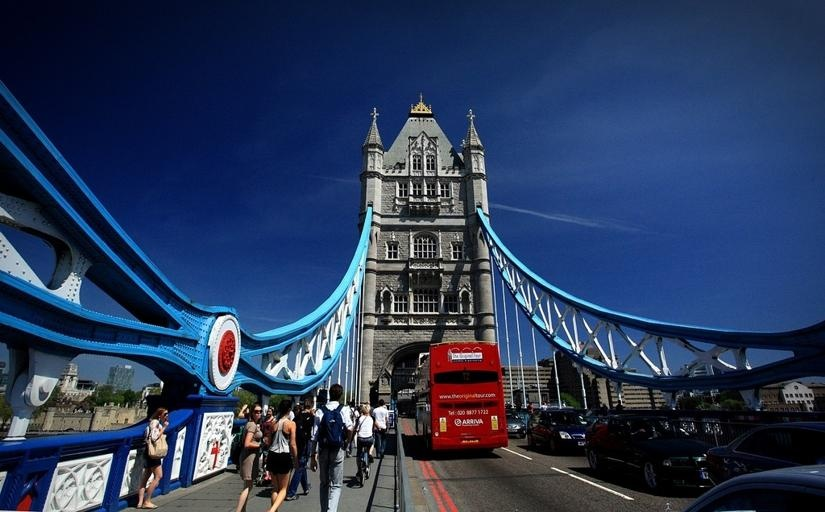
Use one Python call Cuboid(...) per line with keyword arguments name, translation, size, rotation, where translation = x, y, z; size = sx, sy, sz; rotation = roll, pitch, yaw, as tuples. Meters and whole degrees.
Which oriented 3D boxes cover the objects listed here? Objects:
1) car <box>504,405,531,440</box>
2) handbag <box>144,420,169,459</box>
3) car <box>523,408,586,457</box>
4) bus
Cuboid(name="car", translation=(5.469, 8.814, 27.530), size=(1.306, 1.058, 2.985), rotation=(-1, -25, 4))
Cuboid(name="handbag", translation=(-5.830, 4.184, 11.869), size=(0.426, 0.820, 0.771), rotation=(-10, -23, -15))
Cuboid(name="car", translation=(5.607, 6.896, 20.122), size=(1.488, 1.116, 2.475), rotation=(1, 1, -4))
Cuboid(name="bus", translation=(1.935, 4.936, 18.641), size=(2.531, 3.652, 0.716), rotation=(1, -13, -12))
